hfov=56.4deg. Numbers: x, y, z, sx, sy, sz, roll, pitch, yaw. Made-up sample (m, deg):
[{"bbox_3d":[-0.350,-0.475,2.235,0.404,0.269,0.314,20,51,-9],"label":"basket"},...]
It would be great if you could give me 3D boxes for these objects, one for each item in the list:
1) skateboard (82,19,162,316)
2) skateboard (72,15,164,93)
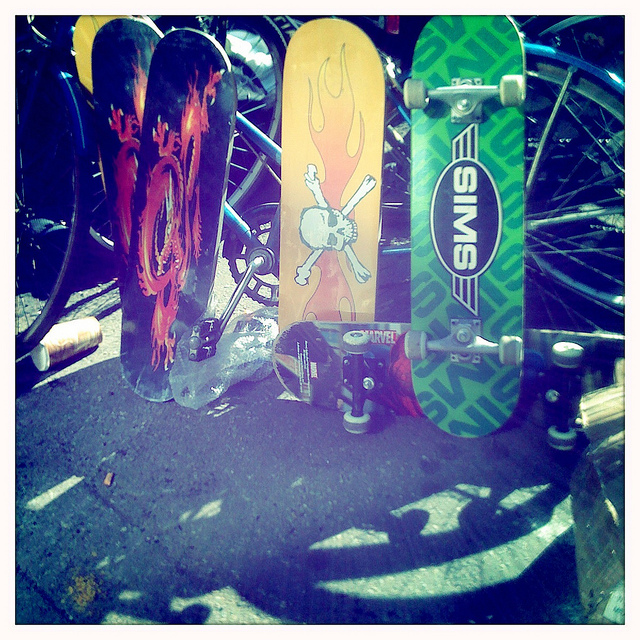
[{"bbox_3d":[-1.050,-0.728,3.358,0.354,1.669,0.273,4,15,13],"label":"skateboard"},{"bbox_3d":[-1.193,-1.413,3.232,0.283,0.421,0.092,1,20,5],"label":"skateboard"}]
